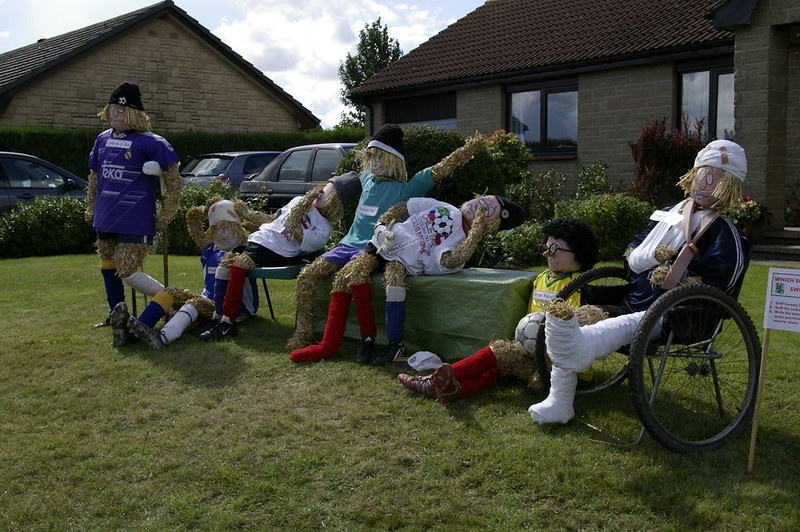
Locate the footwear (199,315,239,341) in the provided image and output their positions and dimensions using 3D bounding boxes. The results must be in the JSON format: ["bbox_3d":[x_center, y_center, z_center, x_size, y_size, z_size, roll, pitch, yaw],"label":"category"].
[{"bbox_3d":[-1.680,0.568,6.304,0.430,0.179,0.141,-18,44,-40],"label":"footwear"}]

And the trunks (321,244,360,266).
[{"bbox_3d":[-0.518,-0.108,5.997,0.237,0.076,0.231,24,55,32],"label":"trunks"}]

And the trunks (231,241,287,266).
[{"bbox_3d":[-1.340,-0.103,6.321,0.306,0.127,0.313,12,0,34],"label":"trunks"}]

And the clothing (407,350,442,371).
[{"bbox_3d":[0.205,0.780,5.428,0.203,0.069,0.151,1,11,-36],"label":"clothing"}]

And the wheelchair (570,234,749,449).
[{"bbox_3d":[1.894,0.566,5.074,1.366,1.698,1.574,3,0,-15],"label":"wheelchair"}]

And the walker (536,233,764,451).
[{"bbox_3d":[1.862,0.492,5.018,1.728,1.617,1.216,-2,4,-31],"label":"walker"}]

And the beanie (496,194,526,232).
[{"bbox_3d":[0.935,-0.439,5.733,0.240,0.286,0.241,-25,-20,-9],"label":"beanie"}]

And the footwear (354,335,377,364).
[{"bbox_3d":[-0.295,0.709,5.582,0.156,0.210,0.174,2,7,-3],"label":"footwear"}]

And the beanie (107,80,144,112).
[{"bbox_3d":[-2.649,-1.648,6.501,0.307,0.218,0.339,13,5,1],"label":"beanie"}]

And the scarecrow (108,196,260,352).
[{"bbox_3d":[-2.038,0.036,6.548,0.888,1.526,1.584,5,0,27],"label":"scarecrow"}]

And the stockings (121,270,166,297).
[{"bbox_3d":[-2.481,0.180,6.443,0.338,0.130,0.248,31,7,8],"label":"stockings"}]

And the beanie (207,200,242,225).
[{"bbox_3d":[-1.777,-0.533,6.633,0.222,0.222,0.295,-1,-2,-14],"label":"beanie"}]

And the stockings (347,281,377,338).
[{"bbox_3d":[-0.280,0.421,5.662,0.180,0.456,0.167,-9,-2,-28],"label":"stockings"}]

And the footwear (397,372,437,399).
[{"bbox_3d":[0.137,0.891,4.992,0.349,0.147,0.122,21,7,39],"label":"footwear"}]

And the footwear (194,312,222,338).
[{"bbox_3d":[-1.801,0.551,6.324,0.123,0.147,0.354,20,30,12],"label":"footwear"}]

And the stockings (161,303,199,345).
[{"bbox_3d":[-2.087,0.557,6.295,0.140,0.169,0.514,-25,10,20],"label":"stockings"}]

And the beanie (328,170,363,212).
[{"bbox_3d":[-0.531,-0.738,6.377,0.373,0.290,0.171,-43,49,-15],"label":"beanie"}]

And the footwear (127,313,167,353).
[{"bbox_3d":[-2.320,0.630,6.055,0.298,0.103,0.209,43,5,5],"label":"footwear"}]

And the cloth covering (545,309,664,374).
[{"bbox_3d":[1.264,0.504,4.397,0.686,0.417,0.167,0,8,-19],"label":"cloth covering"}]

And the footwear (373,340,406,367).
[{"bbox_3d":[-0.130,0.745,5.542,0.356,0.223,0.121,-1,5,-9],"label":"footwear"}]
